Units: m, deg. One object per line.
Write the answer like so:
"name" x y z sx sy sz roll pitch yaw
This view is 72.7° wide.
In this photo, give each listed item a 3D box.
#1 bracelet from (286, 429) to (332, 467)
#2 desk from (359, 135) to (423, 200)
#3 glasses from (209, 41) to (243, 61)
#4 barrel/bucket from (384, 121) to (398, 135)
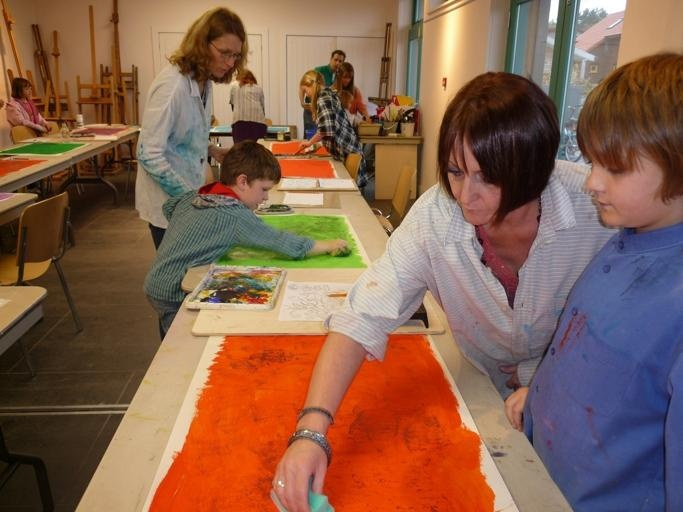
"bracelet" -0.061 0.373 0.895 0.079 0.104 0.071 0 22 2
"desk" 0.690 -1.275 6.148 0.960 1.053 1.038 0 9 -2
"glasses" -0.529 -0.955 2.138 0.084 0.045 0.091 -9 37 -33
"barrel/bucket" 0.672 -1.763 6.336 0.179 0.149 0.192 0 4 0
